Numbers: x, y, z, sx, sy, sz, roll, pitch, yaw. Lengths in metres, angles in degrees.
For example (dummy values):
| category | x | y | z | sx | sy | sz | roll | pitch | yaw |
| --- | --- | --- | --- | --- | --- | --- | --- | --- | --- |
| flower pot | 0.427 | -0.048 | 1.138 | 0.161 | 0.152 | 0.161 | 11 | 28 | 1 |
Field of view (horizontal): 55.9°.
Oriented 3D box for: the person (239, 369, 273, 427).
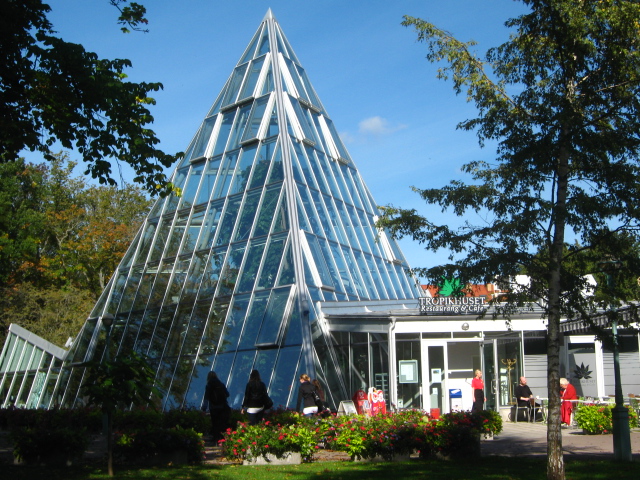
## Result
| category | x | y | z | sx | sy | sz | roll | pitch | yaw |
| --- | --- | --- | --- | --- | --- | --- | --- | --- | --- |
| person | -1.891 | 4.761 | 18.325 | 0.786 | 1.551 | 0.704 | 11 | -23 | -20 |

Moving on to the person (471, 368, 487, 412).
| category | x | y | z | sx | sy | sz | roll | pitch | yaw |
| --- | --- | --- | --- | --- | --- | --- | --- | --- | --- |
| person | 5.738 | 5.405 | 21.919 | 0.395 | 1.644 | 1.515 | -3 | -23 | 13 |

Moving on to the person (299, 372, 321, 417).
| category | x | y | z | sx | sy | sz | roll | pitch | yaw |
| --- | --- | --- | --- | --- | --- | --- | --- | --- | --- |
| person | -0.310 | 4.825 | 18.696 | 0.731 | 1.194 | 0.506 | 10 | -22 | -18 |
